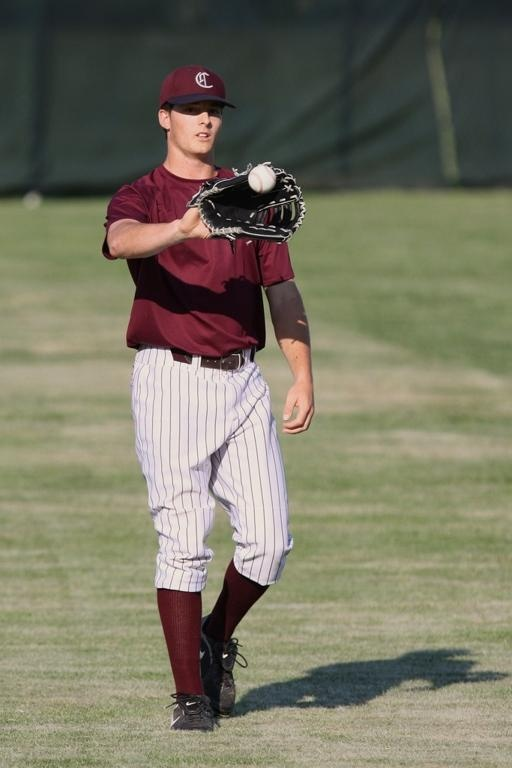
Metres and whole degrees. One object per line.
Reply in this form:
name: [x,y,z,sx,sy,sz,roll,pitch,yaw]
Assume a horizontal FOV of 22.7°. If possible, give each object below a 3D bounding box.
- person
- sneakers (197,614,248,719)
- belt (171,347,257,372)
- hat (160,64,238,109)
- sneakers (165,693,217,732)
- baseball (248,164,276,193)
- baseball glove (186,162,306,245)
person: [-0.133,0.014,3.236,0.496,1.640,0.621,5,9,19]
sneakers: [-0.090,0.741,3.325,0.095,0.227,0.109,8,-42,-40]
belt: [-0.088,-0.063,3.206,0.102,0.052,0.251,7,9,39]
hat: [-0.160,-0.756,3.248,0.127,0.073,0.163,-6,12,-37]
sneakers: [-0.154,0.798,3.138,0.115,0.101,0.153,1,7,-2]
baseball: [0.010,-0.476,2.961,0.074,0.061,0.063,0,34,-6]
baseball glove: [-0.018,-0.416,3.046,0.285,0.180,0.126,5,-25,-28]
